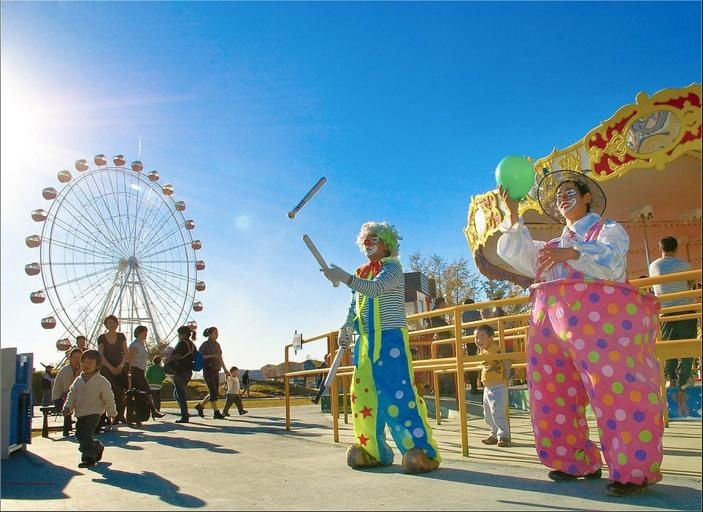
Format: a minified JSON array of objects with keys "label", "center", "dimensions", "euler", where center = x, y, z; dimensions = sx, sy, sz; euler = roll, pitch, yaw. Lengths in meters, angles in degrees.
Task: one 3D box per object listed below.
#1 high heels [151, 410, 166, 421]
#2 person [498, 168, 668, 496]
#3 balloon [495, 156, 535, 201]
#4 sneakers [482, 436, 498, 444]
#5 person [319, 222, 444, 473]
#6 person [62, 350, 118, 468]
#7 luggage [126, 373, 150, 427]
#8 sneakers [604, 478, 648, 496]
[{"label":"high heels","center":[-3.694,3.012,9.980],"dimensions":[0.292,0.225,0.115],"euler":[-9,-2,-12]},{"label":"person","center":[1.665,0.356,3.819],"dimensions":[1.019,2.471,0.842],"euler":[-4,-16,16]},{"label":"balloon","center":[1.399,-0.649,4.408],"dimensions":[0.315,0.369,0.321],"euler":[-4,13,19]},{"label":"sneakers","center":[1.493,2.011,5.773],"dimensions":[0.133,0.082,0.252],"euler":[5,-16,-18]},{"label":"person","center":[0.294,0.699,4.453],"dimensions":[0.824,2.096,0.933],"euler":[0,-16,0]},{"label":"person","center":[-2.731,1.579,5.468],"dimensions":[0.546,1.143,0.377],"euler":[3,-11,-29]},{"label":"luggage","center":[-3.398,2.237,8.372],"dimensions":[0.341,0.837,0.481],"euler":[8,-17,-25]},{"label":"sneakers","center":[1.813,1.498,3.464],"dimensions":[0.274,0.125,0.100],"euler":[1,-12,-12]}]
